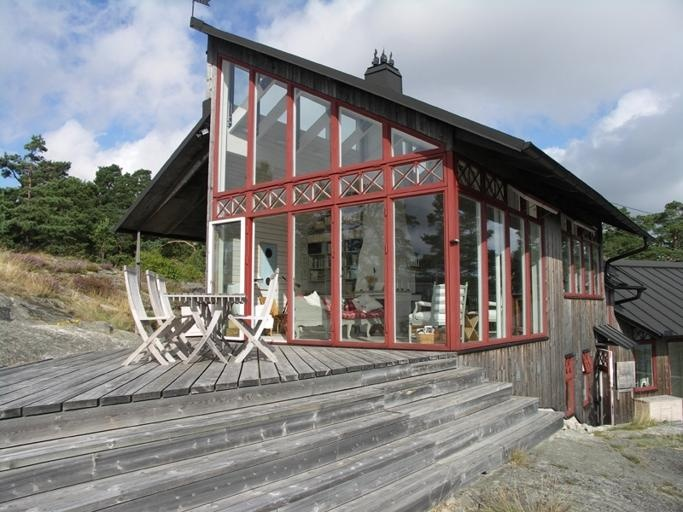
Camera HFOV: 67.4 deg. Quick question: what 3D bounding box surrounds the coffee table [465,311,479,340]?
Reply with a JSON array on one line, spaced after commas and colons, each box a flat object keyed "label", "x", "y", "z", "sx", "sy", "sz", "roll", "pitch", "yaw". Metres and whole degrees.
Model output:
[{"label": "coffee table", "x": 2.207, "y": 1.179, "z": 8.713, "sx": 0.144, "sy": 0.431, "sz": 0.464, "roll": -5, "pitch": -6, "yaw": 36}]
